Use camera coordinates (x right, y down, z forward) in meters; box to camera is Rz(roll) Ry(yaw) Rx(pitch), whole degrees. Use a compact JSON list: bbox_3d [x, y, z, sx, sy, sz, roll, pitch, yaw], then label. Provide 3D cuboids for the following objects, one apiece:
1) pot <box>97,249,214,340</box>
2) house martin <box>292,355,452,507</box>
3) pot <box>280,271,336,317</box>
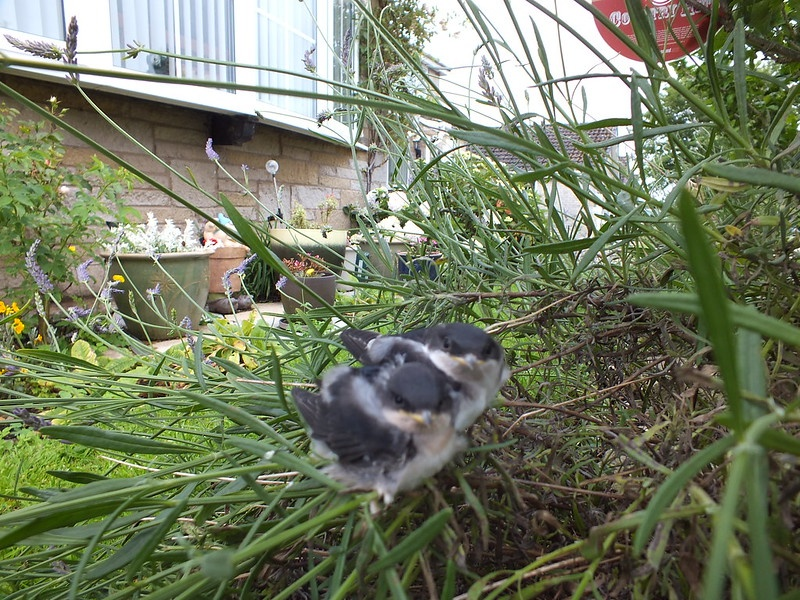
[{"bbox_3d":[-1.566,-0.050,3.720,0.649,0.502,0.649,-1,5,0],"label":"pot"},{"bbox_3d":[-0.038,0.204,0.953,0.250,0.195,0.145,-12,10,-10],"label":"house martin"},{"bbox_3d":[-0.673,-0.054,4.342,0.494,0.395,0.529,-1,0,0],"label":"pot"}]
